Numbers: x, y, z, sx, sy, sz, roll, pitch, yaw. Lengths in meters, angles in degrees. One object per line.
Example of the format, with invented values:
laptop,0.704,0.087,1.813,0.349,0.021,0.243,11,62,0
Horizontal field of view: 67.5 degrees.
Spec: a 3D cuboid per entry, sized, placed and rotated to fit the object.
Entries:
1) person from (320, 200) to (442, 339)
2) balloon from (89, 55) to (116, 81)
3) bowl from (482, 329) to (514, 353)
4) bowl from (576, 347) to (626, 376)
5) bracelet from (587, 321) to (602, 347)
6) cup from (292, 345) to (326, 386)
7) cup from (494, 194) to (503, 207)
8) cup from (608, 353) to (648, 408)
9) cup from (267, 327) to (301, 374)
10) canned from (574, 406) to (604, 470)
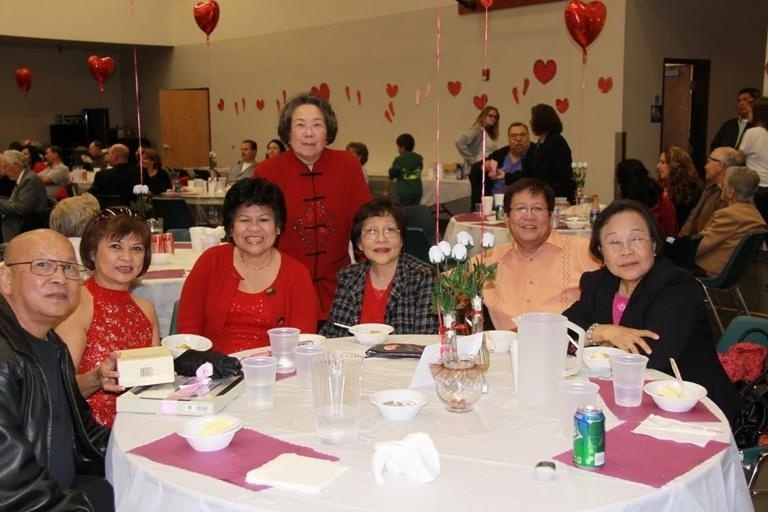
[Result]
person,0.013,0.075,3.126,0.668,1.003,0.625,0,-1,9
balloon,-5.615,-3.710,11.339,0.385,0.455,0.554,-10,16,-34
bowl,0.476,0.339,2.387,0.109,0.068,0.143,15,25,39
bowl,0.795,0.389,2.112,0.107,0.047,0.108,-2,14,0
bracelet,0.869,0.328,2.384,0.031,0.083,0.066,0,10,5
cup,-0.271,0.371,2.033,0.140,0.115,0.141,-1,4,0
cup,1.143,-0.557,5.682,0.122,0.139,0.125,-1,1,0
cup,0.791,0.395,1.853,0.147,0.175,0.148,1,-5,0
cup,-0.391,0.356,2.217,0.148,0.174,0.146,-2,-2,0
canned,0.546,0.480,1.522,0.081,0.158,0.047,4,14,21
